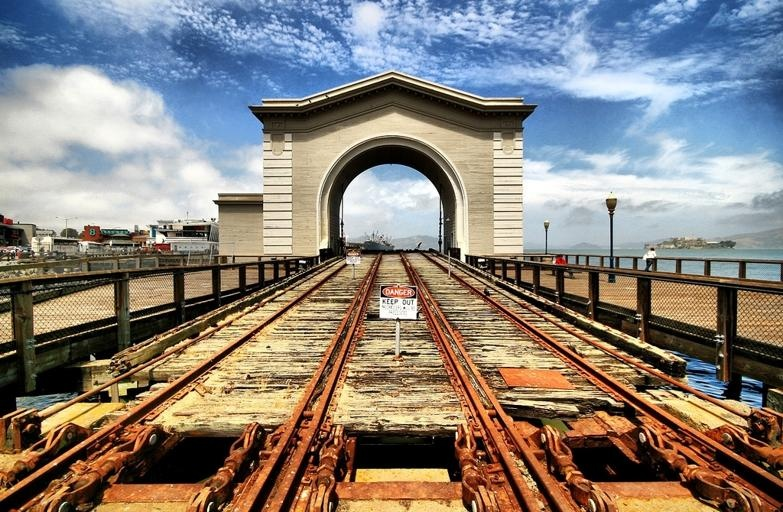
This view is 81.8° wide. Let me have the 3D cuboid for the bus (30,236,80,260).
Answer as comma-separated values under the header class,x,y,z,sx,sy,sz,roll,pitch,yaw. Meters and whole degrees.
class,x,y,z,sx,sy,sz,roll,pitch,yaw
bus,-49.924,-1.171,67.076,4.356,3.784,10.028,0,4,-12
